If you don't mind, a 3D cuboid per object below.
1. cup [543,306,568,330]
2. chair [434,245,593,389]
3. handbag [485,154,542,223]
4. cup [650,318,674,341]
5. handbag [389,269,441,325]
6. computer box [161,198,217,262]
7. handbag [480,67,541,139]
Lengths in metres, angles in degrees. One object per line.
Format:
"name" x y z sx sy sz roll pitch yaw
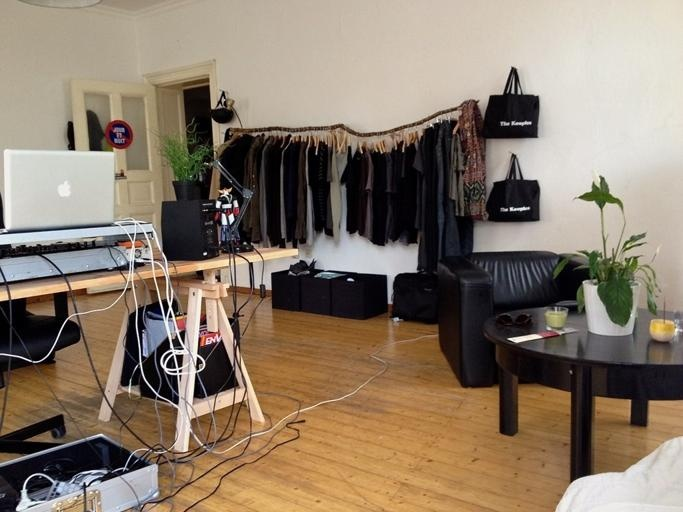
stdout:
"cup" 1.114 0.322 2.791 0.101 0.098 0.117 0 -2 12
"chair" 1.089 0.305 3.735 0.847 0.792 0.841 -2 7 -6
"handbag" 1.504 -0.579 4.654 0.515 0.800 0.334 0 -5 15
"cup" 1.506 0.350 2.544 0.094 0.081 0.102 -3 0 0
"handbag" 0.704 0.374 5.062 0.458 0.522 0.410 1 -5 22
"computer box" -0.819 -0.147 2.951 0.282 0.321 0.180 0 5 14
"handbag" 1.449 -1.293 4.564 0.544 0.810 0.272 1 7 11
